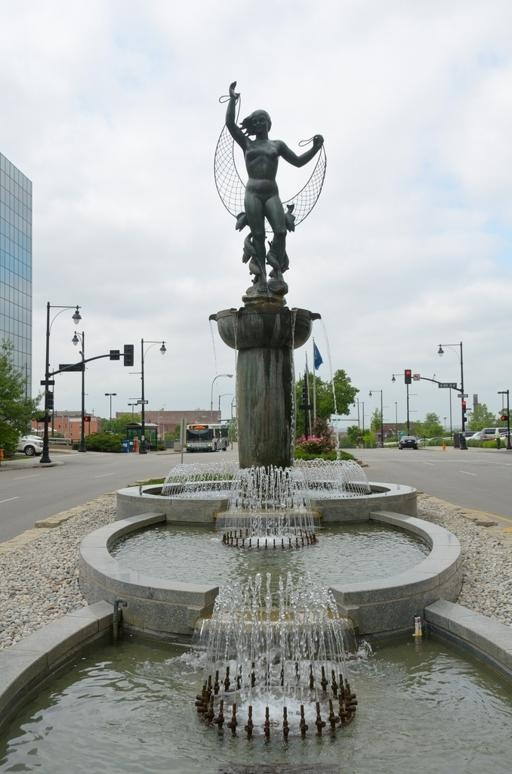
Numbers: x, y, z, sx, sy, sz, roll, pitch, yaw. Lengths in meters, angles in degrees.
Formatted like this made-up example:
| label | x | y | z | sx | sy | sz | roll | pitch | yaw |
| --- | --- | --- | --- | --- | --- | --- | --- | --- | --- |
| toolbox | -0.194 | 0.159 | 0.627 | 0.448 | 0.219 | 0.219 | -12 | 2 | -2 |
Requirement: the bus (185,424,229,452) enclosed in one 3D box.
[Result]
| label | x | y | z | sx | sy | sz | roll | pitch | yaw |
| --- | --- | --- | --- | --- | --- | --- | --- | --- | --- |
| bus | -3.935 | 4.148 | 52.775 | 1.400 | 1.726 | 5.511 | -3 | -6 | 7 |

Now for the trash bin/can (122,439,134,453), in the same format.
| label | x | y | z | sx | sy | sz | roll | pitch | yaw |
| --- | --- | --- | --- | --- | --- | --- | --- | --- | --- |
| trash bin/can | -10.835 | 4.999 | 55.763 | 1.259 | 1.424 | 0.732 | 0 | 1 | 4 |
